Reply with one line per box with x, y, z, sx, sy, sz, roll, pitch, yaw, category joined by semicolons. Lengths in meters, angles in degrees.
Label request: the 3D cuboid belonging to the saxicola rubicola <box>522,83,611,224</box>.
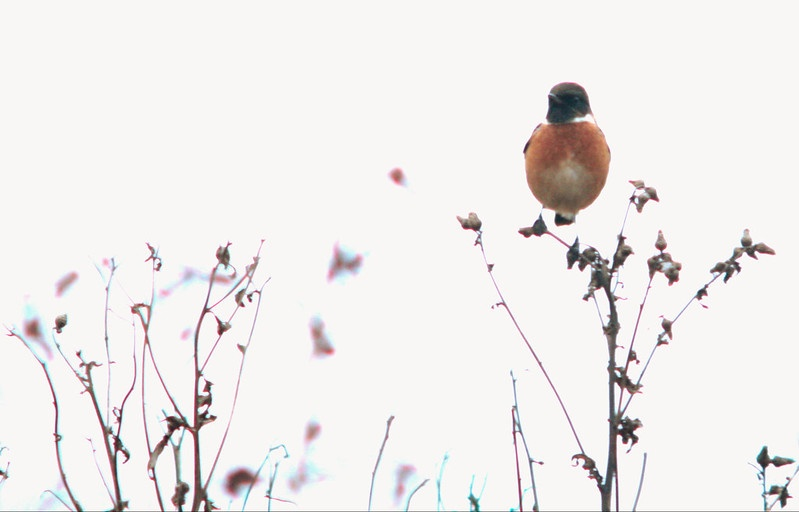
0.414;-0.256;3.892;0.164;0.283;0.358;-1;-60;10;saxicola rubicola
